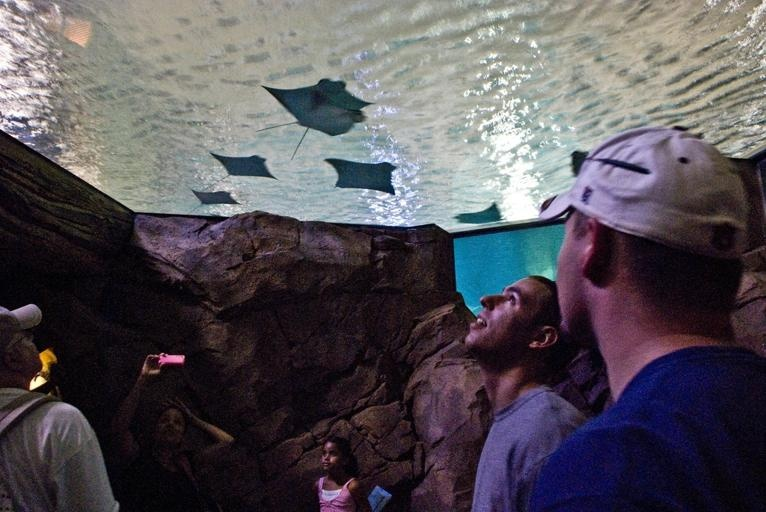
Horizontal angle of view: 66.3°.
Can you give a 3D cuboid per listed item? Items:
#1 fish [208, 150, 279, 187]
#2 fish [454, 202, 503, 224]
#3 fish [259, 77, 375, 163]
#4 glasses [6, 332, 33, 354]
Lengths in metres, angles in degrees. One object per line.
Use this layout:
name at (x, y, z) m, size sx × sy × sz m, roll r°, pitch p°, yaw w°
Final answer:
fish at (-2.076, -1.333, 8.712) m, size 0.989 × 0.166 × 0.655 m, roll 1°, pitch -10°, yaw -17°
fish at (1.691, -0.743, 10.535) m, size 0.816 × 0.114 × 1.057 m, roll -4°, pitch -10°, yaw 13°
fish at (-0.832, -1.982, 7.739) m, size 1.303 × 0.366 × 0.846 m, roll 0°, pitch -10°, yaw -9°
glasses at (-3.548, 0.831, 5.645) m, size 0.173 × 0.154 × 0.047 m, roll 16°, pitch -43°, yaw -22°
